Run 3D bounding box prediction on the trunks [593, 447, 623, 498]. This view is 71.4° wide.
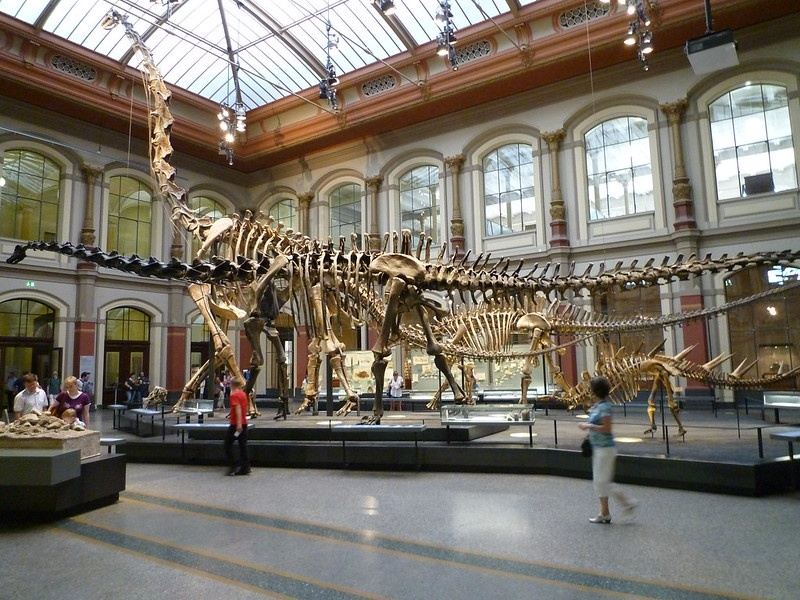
[{"bbox_3d":[2.036,1.699,5.591,0.323,0.508,0.346,3,-7,-15],"label":"trunks"}]

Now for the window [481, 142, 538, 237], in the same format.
[{"bbox_3d":[3.442,-3.324,17.376,1.855,3.240,0.128,-4,-3,42],"label":"window"}]

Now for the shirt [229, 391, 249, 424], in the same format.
[{"bbox_3d":[-2.188,1.470,7.571,0.180,0.445,0.190,-1,3,-4],"label":"shirt"}]

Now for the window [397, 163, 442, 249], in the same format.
[{"bbox_3d":[0.703,-3.351,18.844,1.683,3.102,0.276,1,0,23],"label":"window"}]

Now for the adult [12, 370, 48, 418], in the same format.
[{"bbox_3d":[-5.336,1.385,8.045,0.372,0.650,1.584,-3,4,-34],"label":"adult"}]

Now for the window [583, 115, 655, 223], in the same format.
[{"bbox_3d":[6.275,-3.642,15.766,2.254,3.246,0.229,-3,-1,29],"label":"window"}]

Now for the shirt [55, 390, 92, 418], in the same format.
[{"bbox_3d":[-4.533,1.481,7.689,0.360,0.429,0.524,-2,3,-17],"label":"shirt"}]

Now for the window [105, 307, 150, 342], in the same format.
[{"bbox_3d":[-8.944,0.790,18.163,0.058,0.805,1.174,-10,-9,31],"label":"window"}]
